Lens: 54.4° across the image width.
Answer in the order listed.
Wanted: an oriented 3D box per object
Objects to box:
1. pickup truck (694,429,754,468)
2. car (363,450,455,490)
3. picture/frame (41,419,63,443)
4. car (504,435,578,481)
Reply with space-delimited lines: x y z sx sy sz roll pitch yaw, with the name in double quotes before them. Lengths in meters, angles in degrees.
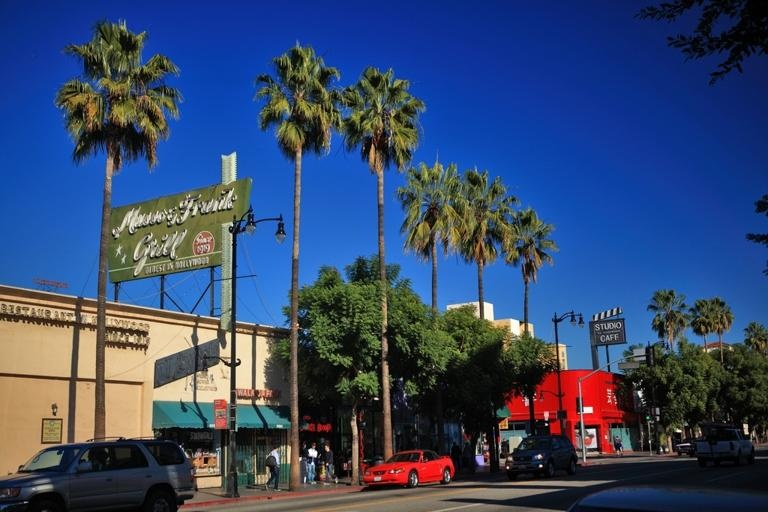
"pickup truck" 21.289 11.833 46.440 2.347 2.083 5.036 -11 -16 40
"car" 1.490 11.965 42.104 3.098 2.076 5.928 -15 -20 35
"picture/frame" -16.857 8.863 37.778 1.100 1.385 0.132 8 -20 -36
"car" 9.144 11.520 43.070 2.832 2.623 5.529 -10 -15 30
